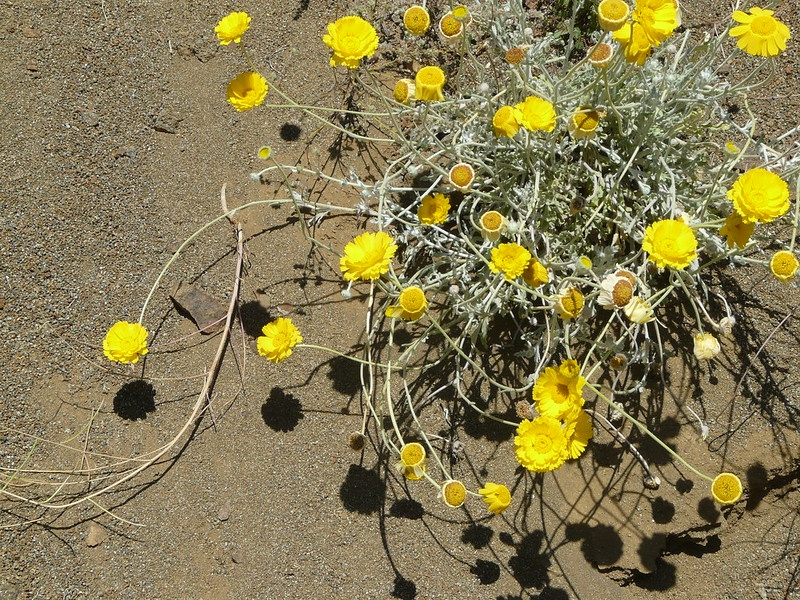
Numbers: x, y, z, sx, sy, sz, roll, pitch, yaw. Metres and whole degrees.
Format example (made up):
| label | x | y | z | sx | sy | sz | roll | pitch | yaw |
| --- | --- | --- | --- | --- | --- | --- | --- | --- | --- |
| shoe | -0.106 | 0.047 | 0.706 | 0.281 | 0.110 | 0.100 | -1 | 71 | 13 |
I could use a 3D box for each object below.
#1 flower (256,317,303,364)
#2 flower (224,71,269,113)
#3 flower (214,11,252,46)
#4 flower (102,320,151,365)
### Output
| label | x | y | z | sx | sy | sz | roll | pitch | yaw |
| --- | --- | --- | --- | --- | --- | --- | --- | --- | --- |
| flower | -0.736 | 0.237 | 5.095 | 0.262 | 0.131 | 0.290 | 16 | 76 | 13 |
| flower | -0.957 | -1.295 | 5.169 | 0.224 | 0.175 | 0.245 | -30 | 61 | -22 |
| flower | -1.029 | -1.633 | 5.133 | 0.186 | 0.233 | 0.192 | 5 | 54 | 0 |
| flower | -1.748 | 0.303 | 5.325 | 0.268 | 0.255 | 0.225 | -29 | 61 | -22 |
